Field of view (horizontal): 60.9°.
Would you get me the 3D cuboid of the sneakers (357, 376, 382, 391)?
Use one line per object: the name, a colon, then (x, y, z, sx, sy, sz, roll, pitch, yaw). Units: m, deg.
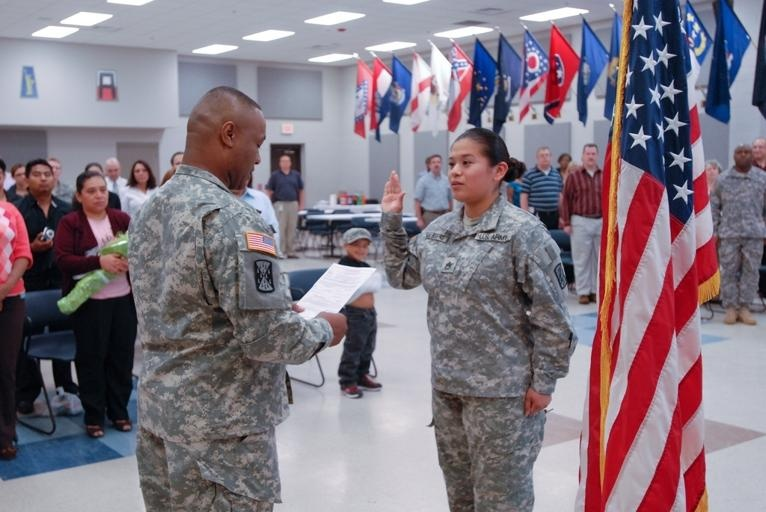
sneakers: (-0.118, 1.087, 5.607, 0.253, 0.118, 0.087, 2, 4, 12)

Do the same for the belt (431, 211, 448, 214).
belt: (1.021, -0.758, 11.294, 0.242, 0.061, 0.258, -1, 0, 37)

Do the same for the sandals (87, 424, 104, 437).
sandals: (-2.041, 1.234, 4.657, 0.058, 0.069, 0.171, 0, -3, -33)

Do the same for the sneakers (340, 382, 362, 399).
sneakers: (-0.266, 1.114, 5.455, 0.080, 0.082, 0.200, -2, 0, -37)
